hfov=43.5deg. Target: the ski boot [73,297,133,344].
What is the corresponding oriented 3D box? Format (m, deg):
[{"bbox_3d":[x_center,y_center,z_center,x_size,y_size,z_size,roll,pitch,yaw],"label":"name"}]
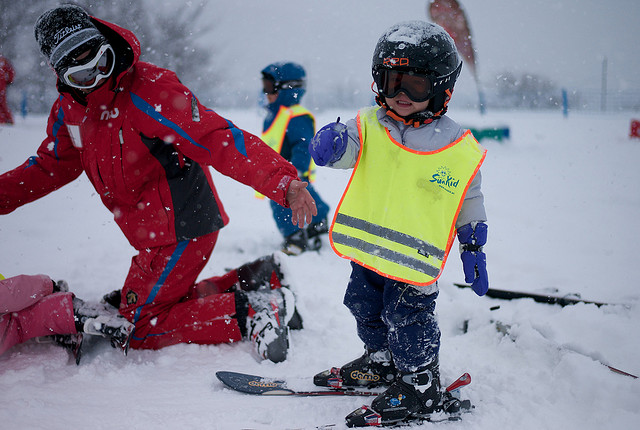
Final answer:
[{"bbox_3d":[-2.047,0.982,7.601,0.419,0.215,0.451,18,20,-20],"label":"ski boot"}]
